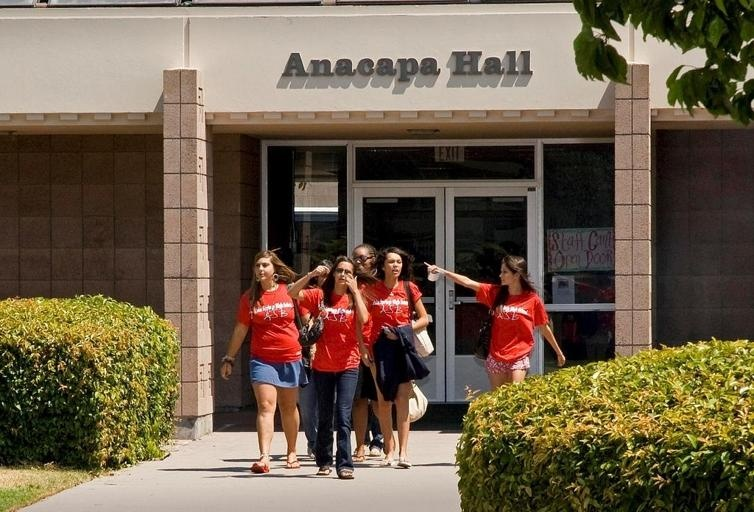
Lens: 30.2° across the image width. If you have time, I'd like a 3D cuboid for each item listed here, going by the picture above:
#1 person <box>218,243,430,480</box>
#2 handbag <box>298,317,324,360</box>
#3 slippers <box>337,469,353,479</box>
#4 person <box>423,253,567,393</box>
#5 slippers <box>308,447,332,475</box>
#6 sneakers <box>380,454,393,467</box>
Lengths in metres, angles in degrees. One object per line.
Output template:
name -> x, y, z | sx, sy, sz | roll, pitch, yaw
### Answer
person -> -0.831, 1.232, 15.996 | 1.524, 2.620, 0.495 | -2, -4, 11
handbag -> -0.758, 0.957, 16.077 | 0.279, 0.484, 0.611 | -2, -3, -4
slippers -> -0.358, 2.456, 15.678 | 0.126, 0.052, 0.127 | 0, 3, -9
person -> 1.595, 0.773, 16.271 | 1.116, 1.534, 0.600 | -2, -3, 4
slippers -> -0.649, 2.355, 15.986 | 0.209, 0.297, 0.696 | 1, -9, -3
sneakers -> 0.113, 2.408, 16.377 | 0.106, 0.128, 0.319 | 0, -8, 2
